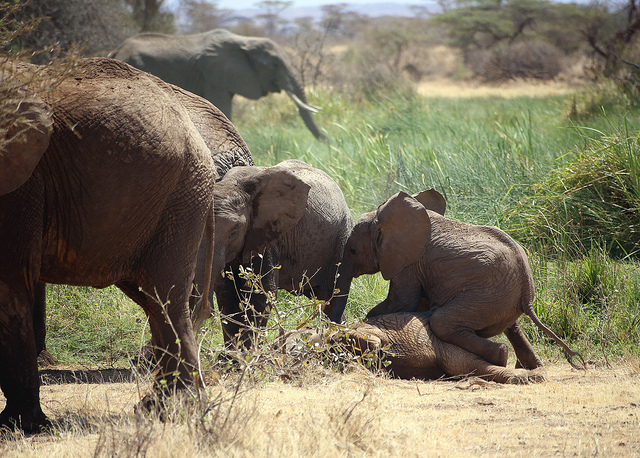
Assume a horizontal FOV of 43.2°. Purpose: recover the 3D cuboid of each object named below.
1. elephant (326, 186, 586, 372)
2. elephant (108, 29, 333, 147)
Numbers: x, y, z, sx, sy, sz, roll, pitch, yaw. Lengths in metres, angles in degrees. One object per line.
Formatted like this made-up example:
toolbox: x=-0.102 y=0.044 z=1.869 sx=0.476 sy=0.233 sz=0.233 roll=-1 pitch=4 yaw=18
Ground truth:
elephant: x=1.087 y=0.457 z=6.885 sx=2.328 sy=1.425 sz=1.041 roll=8 pitch=7 yaw=33
elephant: x=-1.470 y=-2.287 z=13.045 sx=3.279 sy=2.021 sz=1.430 roll=4 pitch=24 yaw=24
